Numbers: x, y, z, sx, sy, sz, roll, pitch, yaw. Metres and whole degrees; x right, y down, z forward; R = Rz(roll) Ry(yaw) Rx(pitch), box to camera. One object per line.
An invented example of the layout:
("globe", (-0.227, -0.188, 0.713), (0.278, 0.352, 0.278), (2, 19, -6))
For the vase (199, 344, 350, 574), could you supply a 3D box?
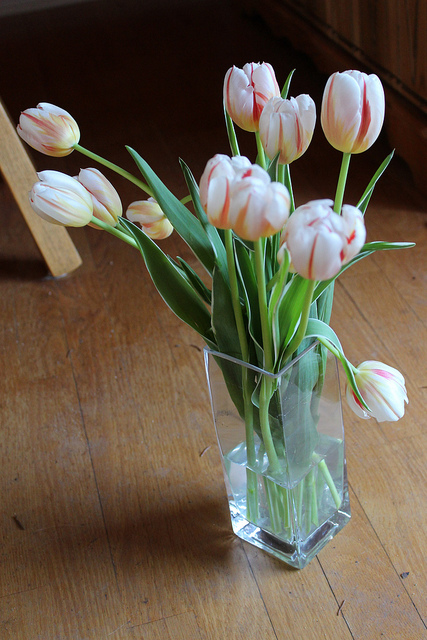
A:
("vase", (0.074, 0.133, 0.555), (0.144, 0.319, 0.087), (-6, 43, -1))
